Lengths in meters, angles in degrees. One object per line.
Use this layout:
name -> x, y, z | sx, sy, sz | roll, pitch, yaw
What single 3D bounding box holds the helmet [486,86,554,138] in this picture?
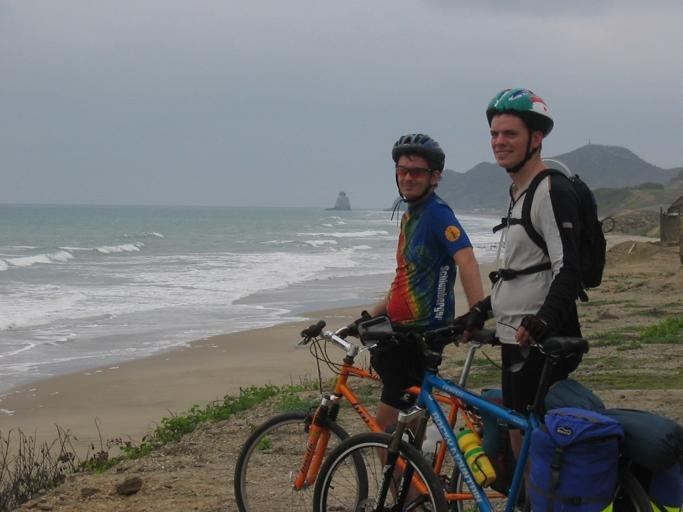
helmet -> 1.350, -1.077, 5.117 | 0.445, 0.375, 0.364 | 4, 3, -24
